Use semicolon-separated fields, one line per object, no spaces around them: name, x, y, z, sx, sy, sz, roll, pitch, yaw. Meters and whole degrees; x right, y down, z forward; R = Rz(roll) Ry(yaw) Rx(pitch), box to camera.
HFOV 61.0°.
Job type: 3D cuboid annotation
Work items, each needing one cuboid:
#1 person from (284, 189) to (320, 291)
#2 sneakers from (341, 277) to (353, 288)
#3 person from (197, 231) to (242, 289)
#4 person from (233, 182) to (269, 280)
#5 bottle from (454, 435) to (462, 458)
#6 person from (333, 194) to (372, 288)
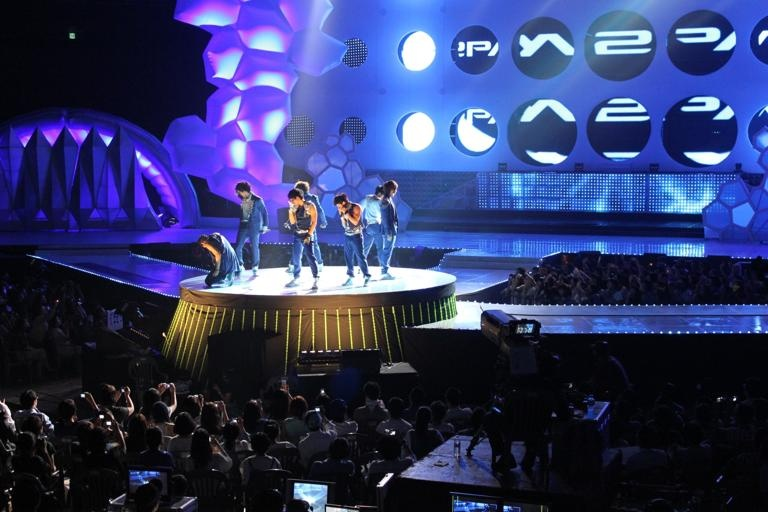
person;-1.380;-0.228;11.359;0.611;1.690;1.473;3;-7;-8
sneakers;-0.613;0.432;11.039;0.183;0.189;0.285;3;-7;-2
person;-2.763;0.068;10.882;0.624;0.925;0.295;5;-7;-18
person;-2.438;-0.497;11.996;0.553;1.700;1.042;4;-7;-11
bottle;0.686;1.768;6.050;0.057;0.179;0.261;1;-7;13
person;-0.528;-0.255;11.128;0.590;1.514;1.062;2;-7;2
